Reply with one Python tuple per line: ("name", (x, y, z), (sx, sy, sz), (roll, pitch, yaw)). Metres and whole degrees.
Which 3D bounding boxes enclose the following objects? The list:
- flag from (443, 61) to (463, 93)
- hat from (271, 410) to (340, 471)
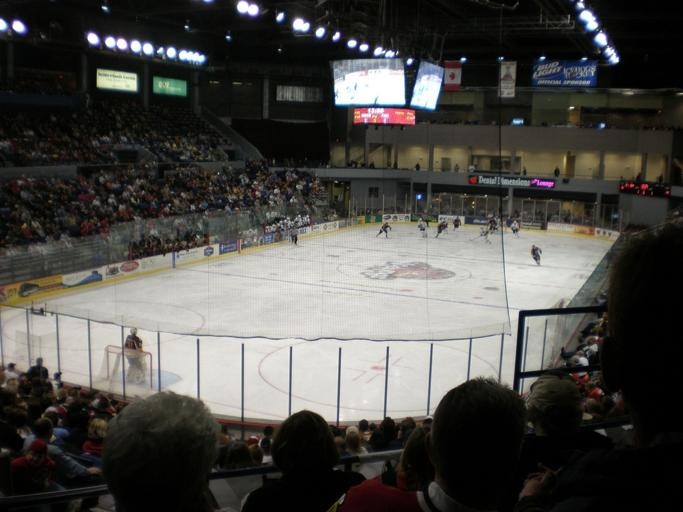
("flag", (8.178, -13.418, 46.957), (1.238, 2.317, 1.090), (2, 2, 21))
("hat", (-0.241, 1.280, 4.215), (0.353, 0.460, 0.452), (1, 5, -4))
